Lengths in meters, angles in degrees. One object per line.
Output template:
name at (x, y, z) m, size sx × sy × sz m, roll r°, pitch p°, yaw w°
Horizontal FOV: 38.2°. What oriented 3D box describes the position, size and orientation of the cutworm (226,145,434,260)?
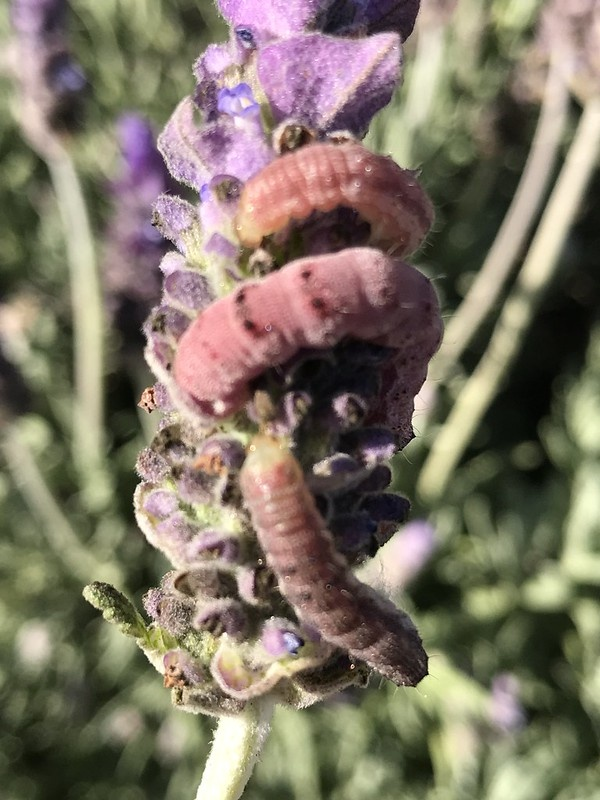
cutworm at (0.061, -0.259, 1.047) m, size 0.286 × 0.084 × 0.148 m, roll 9°, pitch 53°, yaw 30°
